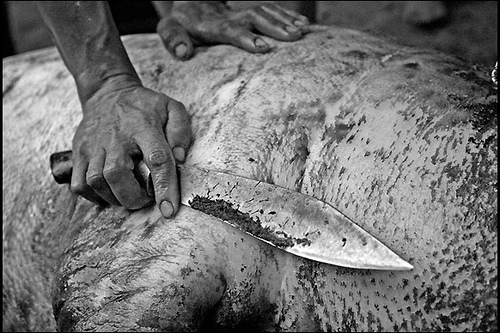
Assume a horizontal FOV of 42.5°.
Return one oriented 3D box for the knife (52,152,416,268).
[{"bbox_3d":[-0.144,0.103,2.063,1.343,0.119,0.255,16,69,24],"label":"knife"}]
